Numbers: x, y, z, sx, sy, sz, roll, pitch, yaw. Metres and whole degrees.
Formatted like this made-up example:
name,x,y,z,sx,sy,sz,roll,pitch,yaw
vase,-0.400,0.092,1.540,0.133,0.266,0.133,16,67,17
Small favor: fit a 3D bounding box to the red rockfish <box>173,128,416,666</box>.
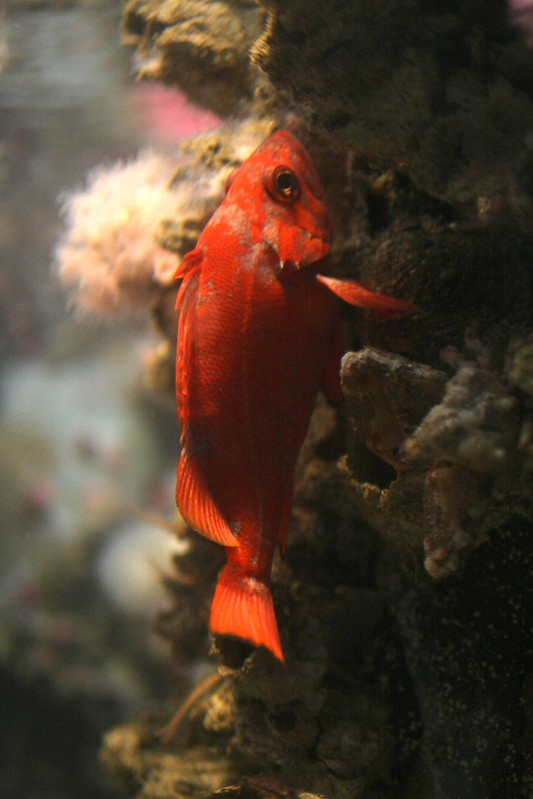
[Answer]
name,x,y,z,sx,sy,sz,roll,pitch,yaw
red rockfish,0.016,-0.006,1.806,0.419,0.823,0.488,14,-5,-13
